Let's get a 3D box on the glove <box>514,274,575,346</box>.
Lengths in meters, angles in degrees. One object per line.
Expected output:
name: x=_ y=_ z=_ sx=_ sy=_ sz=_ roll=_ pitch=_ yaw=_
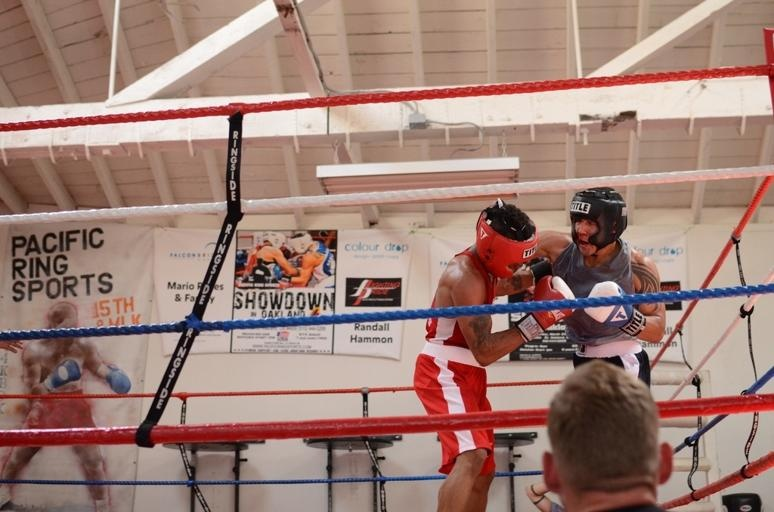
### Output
glove: x=1.059 y=0.349 z=6.263 sx=0.388 sy=0.448 sz=0.456 roll=-1 pitch=-6 yaw=11
